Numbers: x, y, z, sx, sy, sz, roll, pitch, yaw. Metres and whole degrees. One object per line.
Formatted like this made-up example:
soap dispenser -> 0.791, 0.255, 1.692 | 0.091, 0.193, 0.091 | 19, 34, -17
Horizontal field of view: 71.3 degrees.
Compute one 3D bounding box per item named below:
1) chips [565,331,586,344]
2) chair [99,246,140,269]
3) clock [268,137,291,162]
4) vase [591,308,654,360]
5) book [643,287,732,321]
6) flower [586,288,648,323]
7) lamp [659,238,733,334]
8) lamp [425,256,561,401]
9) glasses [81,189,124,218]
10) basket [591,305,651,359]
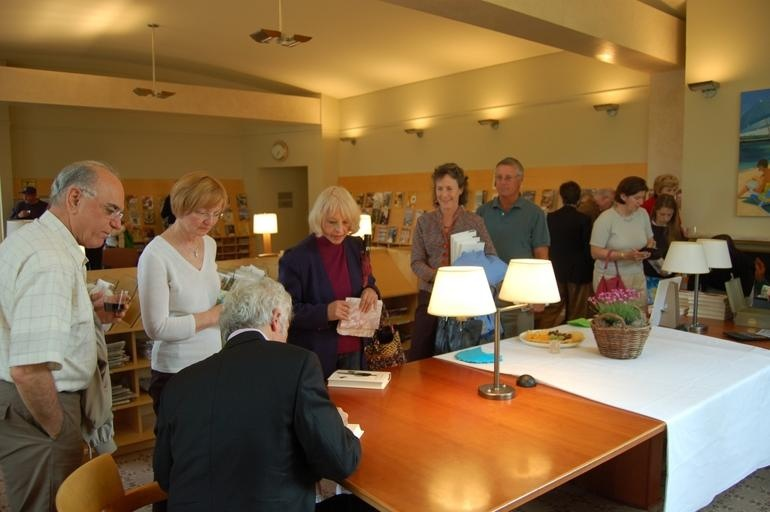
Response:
chips -> 1.427, 0.607, 4.030 | 0.098, 0.046, 0.100 | -2, 6, 30
chair -> -4.215, 0.020, 8.506 | 0.391, 0.585, 0.365 | -2, 2, -34
clock -> -2.739, -2.744, 13.991 | 0.132, 0.588, 0.664 | -8, 7, -44
vase -> 1.647, 0.510, 3.752 | 0.345, 0.275, 0.331 | 0, 1, 44
book -> 2.847, 0.427, 4.784 | 0.514, 0.175, 0.375 | -1, 3, -37
flower -> 1.662, 0.360, 3.857 | 0.302, 0.247, 0.284 | -10, 2, -23
lamp -> 2.691, 0.266, 4.514 | 0.456, 0.658, 0.445 | 6, 12, -34
lamp -> 0.686, 0.470, 3.303 | 0.388, 0.813, 0.885 | 6, -9, -44
glasses -> -1.529, -0.286, 2.899 | 0.153, 0.064, 0.117 | 27, 33, 20
basket -> 1.666, 0.521, 3.814 | 0.413, 0.326, 0.410 | 0, 5, 24
